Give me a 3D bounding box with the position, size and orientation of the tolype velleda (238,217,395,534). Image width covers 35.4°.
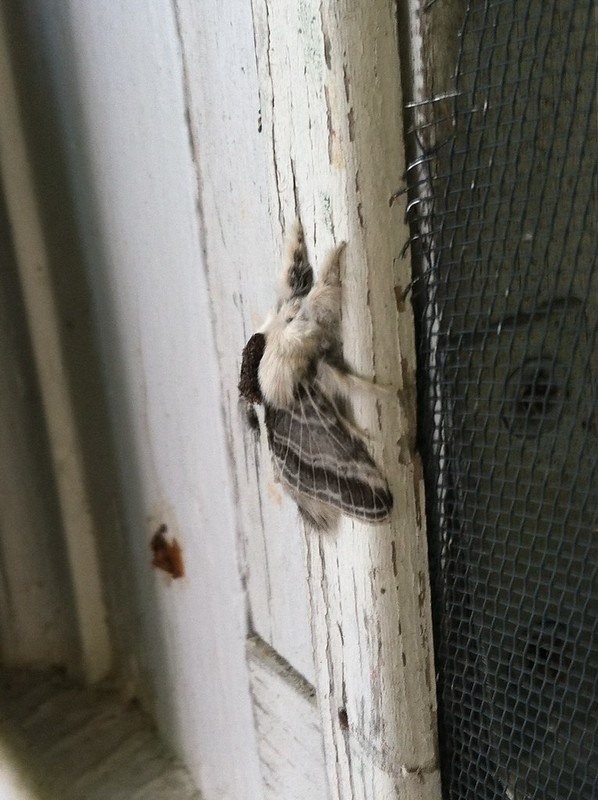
[{"bbox_3d":[0.019,0.013,0.760,0.076,0.326,0.196,3,4,-9],"label":"tolype velleda"}]
